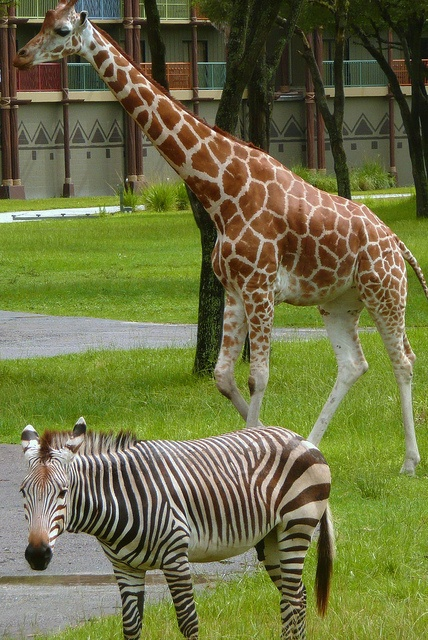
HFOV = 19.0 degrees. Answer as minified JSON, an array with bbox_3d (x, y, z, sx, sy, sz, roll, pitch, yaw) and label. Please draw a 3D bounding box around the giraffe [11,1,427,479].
[{"bbox_3d":[0.227,-0.470,7.908,2.248,2.776,1.039,1,6,-13],"label":"giraffe"}]
